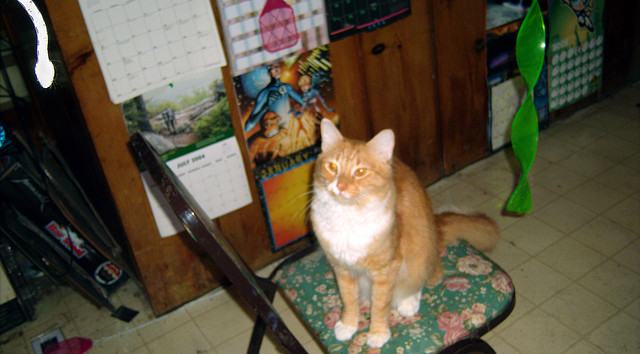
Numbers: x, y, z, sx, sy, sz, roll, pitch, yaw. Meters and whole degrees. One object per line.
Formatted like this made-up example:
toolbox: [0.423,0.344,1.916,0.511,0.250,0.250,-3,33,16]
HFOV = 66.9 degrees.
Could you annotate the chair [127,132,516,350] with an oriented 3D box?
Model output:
chair: [-0.149,0.532,3.637,1.017,1.428,0.719,-33,51,14]
